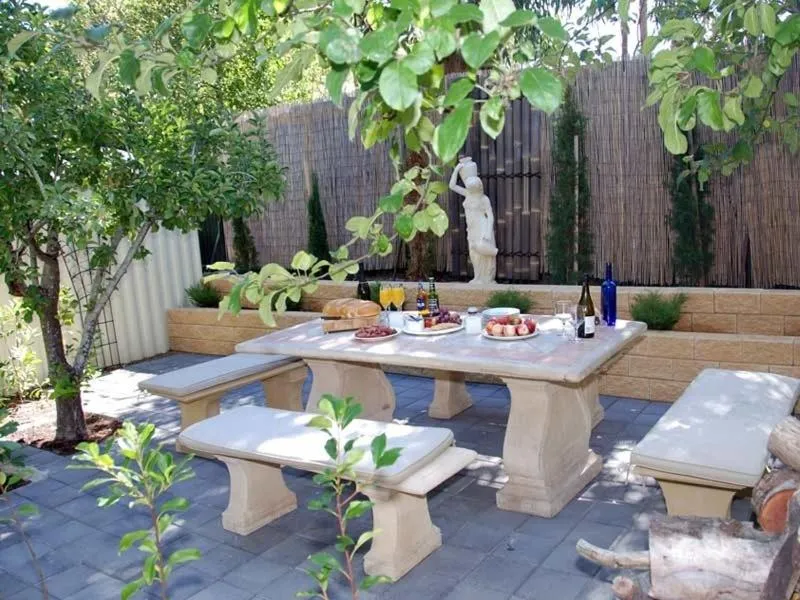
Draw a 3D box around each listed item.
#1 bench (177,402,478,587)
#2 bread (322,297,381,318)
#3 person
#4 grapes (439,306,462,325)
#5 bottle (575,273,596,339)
[{"bbox_3d":[-0.427,1.199,3.244,1.665,0.784,0.670,0,9,32],"label":"bench"},{"bbox_3d":[-0.368,0.117,4.460,0.295,0.092,0.216,-1,4,-28],"label":"bread"},{"bbox_3d":[0.895,-0.876,6.586,0.440,1.614,0.748,-2,9,11],"label":"person"},{"bbox_3d":[0.423,0.210,4.591,0.143,0.074,0.180,5,5,6],"label":"grapes"},{"bbox_3d":[1.225,0.095,3.648,0.102,0.416,0.355,0,9,27],"label":"bottle"}]
